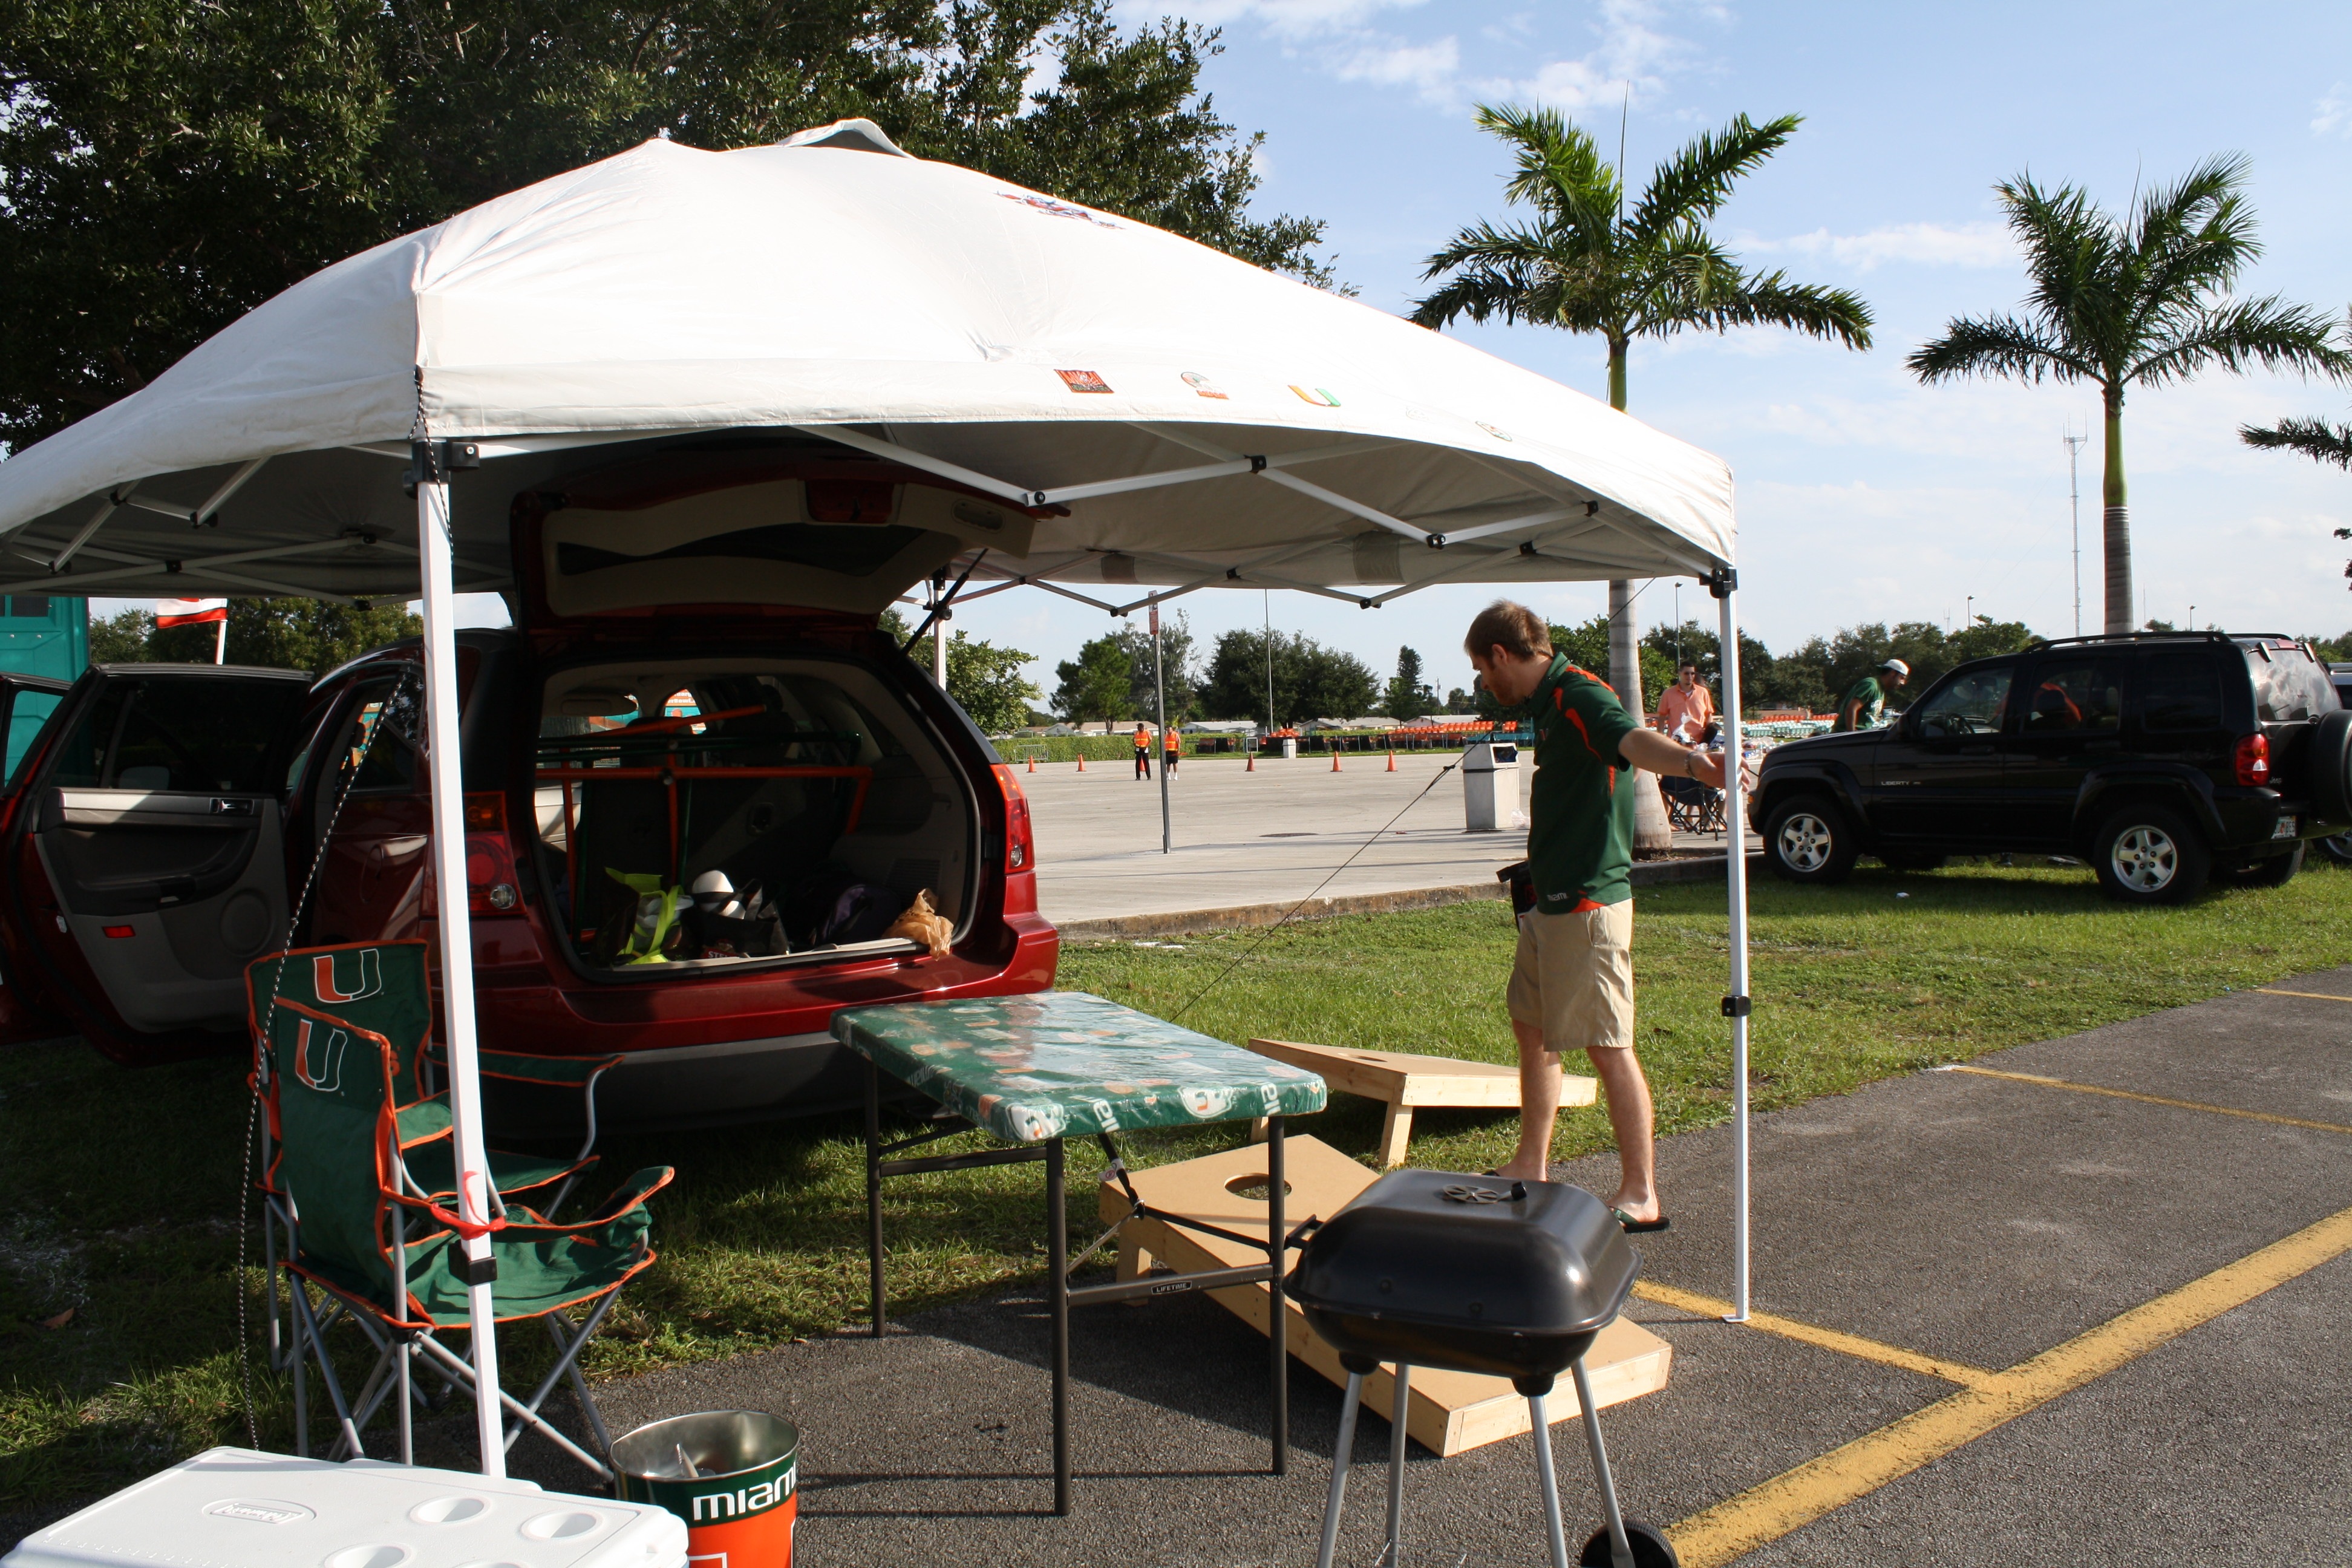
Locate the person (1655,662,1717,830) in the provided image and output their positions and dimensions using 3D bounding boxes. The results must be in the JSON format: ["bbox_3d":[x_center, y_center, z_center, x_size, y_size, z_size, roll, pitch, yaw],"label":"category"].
[{"bbox_3d":[2.271,-0.124,8.465,0.295,0.740,0.213,17,19,35],"label":"person"}]

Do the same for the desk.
[{"bbox_3d":[-0.442,1.553,6.779,1.115,1.271,1.990,-2,3,-28],"label":"desk"}]

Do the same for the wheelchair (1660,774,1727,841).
[{"bbox_3d":[4.920,0.270,18.087,0.615,0.818,0.613,-3,2,-4],"label":"wheelchair"}]

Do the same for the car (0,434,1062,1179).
[{"bbox_3d":[-2.332,-0.247,8.655,2.494,2.069,3.323,-3,9,-28],"label":"car"}]
